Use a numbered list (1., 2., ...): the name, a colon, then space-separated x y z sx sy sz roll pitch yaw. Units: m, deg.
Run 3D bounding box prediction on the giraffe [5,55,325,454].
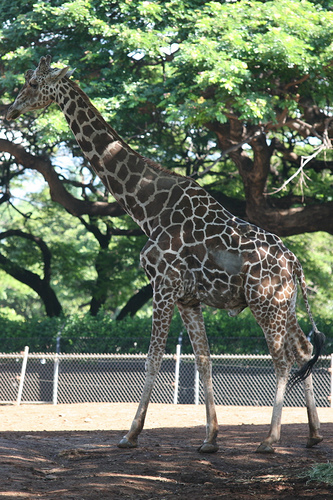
1. giraffe: 0.176 0.130 13.119 4.573 5.382 2.161 13 24 31
